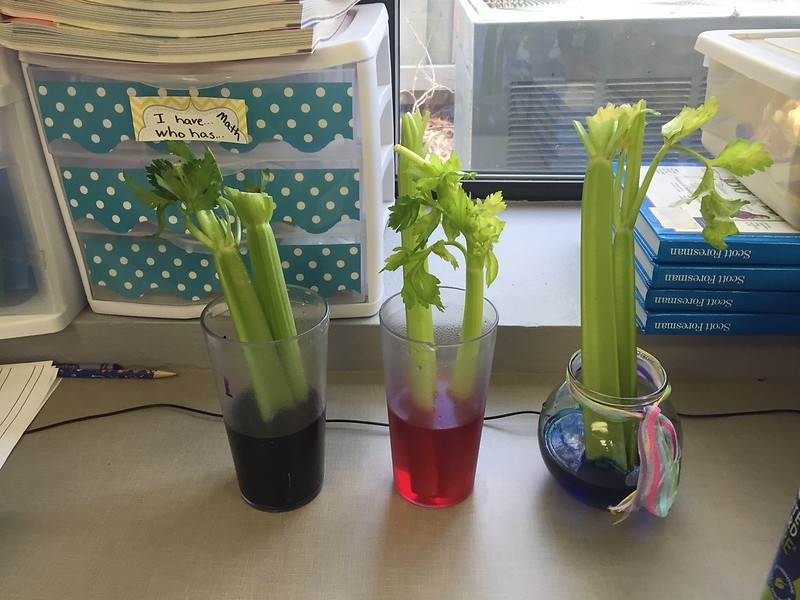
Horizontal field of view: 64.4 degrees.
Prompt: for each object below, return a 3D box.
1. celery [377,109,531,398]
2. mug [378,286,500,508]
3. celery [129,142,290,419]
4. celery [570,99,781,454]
[{"bbox_3d":[0.056,-0.065,0.759,0.131,0.312,0.211,3,30,9],"label":"celery"},{"bbox_3d":[0.045,0.135,0.816,0.149,0.239,0.143,8,23,19],"label":"mug"},{"bbox_3d":[-0.239,-0.044,0.776,0.126,0.309,0.262,-13,31,-20],"label":"celery"},{"bbox_3d":[0.300,-0.041,0.762,0.193,0.390,0.282,17,34,30],"label":"celery"}]
